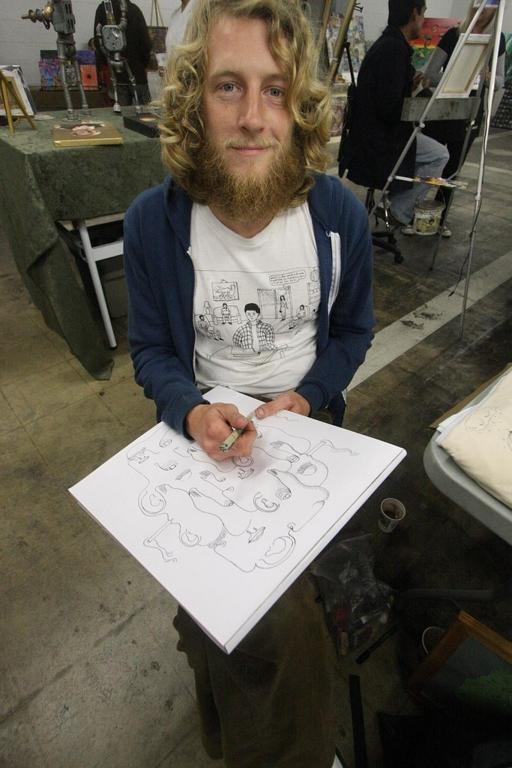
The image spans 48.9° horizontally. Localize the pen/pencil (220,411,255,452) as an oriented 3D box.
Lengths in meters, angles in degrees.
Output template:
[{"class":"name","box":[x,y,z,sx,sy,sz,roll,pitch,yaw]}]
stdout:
[{"class":"pen/pencil","box":[-0.041,0.097,1.185,0.025,0.022,0.145,-9,17,18]}]
